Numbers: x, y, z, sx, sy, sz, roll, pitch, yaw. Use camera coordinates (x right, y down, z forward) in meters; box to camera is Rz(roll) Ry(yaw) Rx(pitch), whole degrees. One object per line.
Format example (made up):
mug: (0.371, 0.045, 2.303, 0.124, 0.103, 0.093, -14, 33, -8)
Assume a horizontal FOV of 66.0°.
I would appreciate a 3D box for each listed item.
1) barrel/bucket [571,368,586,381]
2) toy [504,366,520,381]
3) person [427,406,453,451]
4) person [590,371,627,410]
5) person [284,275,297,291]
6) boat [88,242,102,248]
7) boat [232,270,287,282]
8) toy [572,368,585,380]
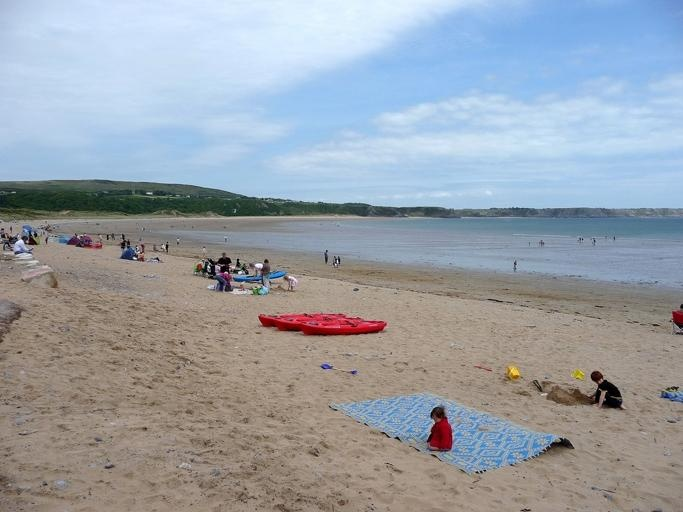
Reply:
barrel/bucket: (7.104, 3.569, 15.724, 0.384, 0.368, 0.335, 26, 63, 28)
toy: (5.120, 3.455, 15.512, 0.348, 0.323, 0.404, -5, 18, -26)
person: (2.188, 3.678, 11.317, 0.696, 0.928, 0.462, 1, 7, -10)
person: (7.129, 3.486, 14.015, 0.816, 0.914, 0.974, 5, 7, 25)
person: (-2.606, 1.364, 26.845, 1.076, 0.690, 0.963, -2, 8, -9)
boat: (-18.835, -0.802, 40.216, 0.844, 0.198, 0.856, 1, 5, -13)
boat: (-4.419, 1.134, 28.825, 0.920, 0.334, 2.927, 2, 5, 40)
toy: (7.063, 3.466, 15.677, 0.347, 0.278, 0.428, 4, 13, 25)
